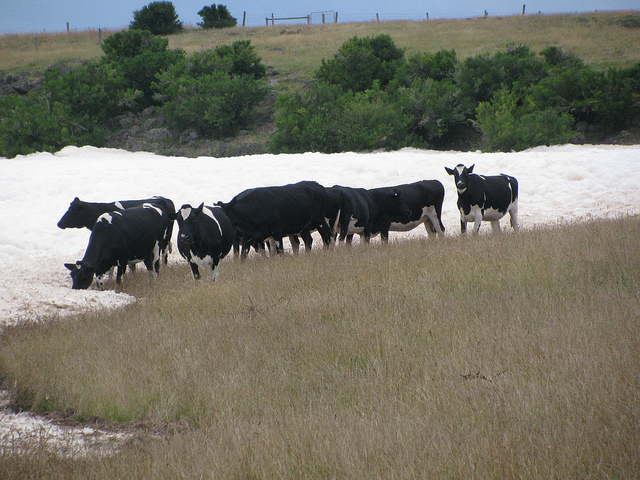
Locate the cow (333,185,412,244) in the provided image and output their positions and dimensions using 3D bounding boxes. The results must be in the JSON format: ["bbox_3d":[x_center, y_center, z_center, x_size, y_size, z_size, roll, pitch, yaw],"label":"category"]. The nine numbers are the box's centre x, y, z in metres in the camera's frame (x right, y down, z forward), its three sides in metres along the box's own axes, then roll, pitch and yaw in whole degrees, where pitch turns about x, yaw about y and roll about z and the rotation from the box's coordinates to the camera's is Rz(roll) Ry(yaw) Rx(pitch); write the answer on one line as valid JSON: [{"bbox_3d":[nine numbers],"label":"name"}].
[{"bbox_3d":[1.715,-0.820,36.140,3.776,2.444,1.321,0,0,-36],"label":"cow"}]

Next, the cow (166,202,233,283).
[{"bbox_3d":[-3.988,-0.039,32.719,1.348,2.613,2.350,5,15,35],"label":"cow"}]

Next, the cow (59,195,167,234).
[{"bbox_3d":[-8.380,-0.127,35.407,3.216,2.545,1.863,-2,14,-7],"label":"cow"}]

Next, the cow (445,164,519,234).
[{"bbox_3d":[6.119,-1.358,35.455,1.335,2.665,4.082,3,3,43],"label":"cow"}]

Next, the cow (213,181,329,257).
[{"bbox_3d":[-1.706,-0.576,34.939,4.678,2.909,1.537,-13,10,-32],"label":"cow"}]
